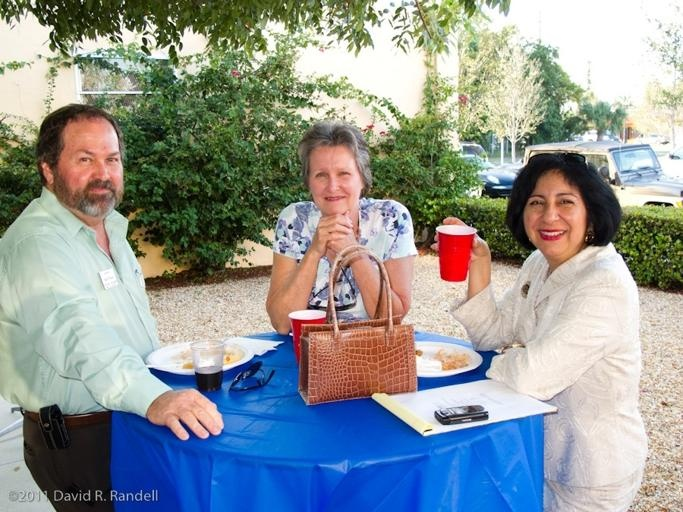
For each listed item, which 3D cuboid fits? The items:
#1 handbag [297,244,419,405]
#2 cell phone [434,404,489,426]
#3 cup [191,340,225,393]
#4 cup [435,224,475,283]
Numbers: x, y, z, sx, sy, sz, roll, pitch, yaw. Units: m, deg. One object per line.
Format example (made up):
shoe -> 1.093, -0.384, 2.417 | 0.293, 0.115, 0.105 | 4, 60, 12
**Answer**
handbag -> 0.064, 0.312, 2.296 | 0.548, 0.718, 0.217 | -4, 10, -14
cell phone -> 0.435, 0.565, 1.862 | 0.123, 0.031, 0.083 | -2, 3, -8
cup -> -0.565, 0.469, 2.213 | 0.171, 0.205, 0.177 | -3, 0, 0
cup -> 0.547, -0.021, 2.573 | 0.229, 0.281, 0.250 | -1, 12, 0
